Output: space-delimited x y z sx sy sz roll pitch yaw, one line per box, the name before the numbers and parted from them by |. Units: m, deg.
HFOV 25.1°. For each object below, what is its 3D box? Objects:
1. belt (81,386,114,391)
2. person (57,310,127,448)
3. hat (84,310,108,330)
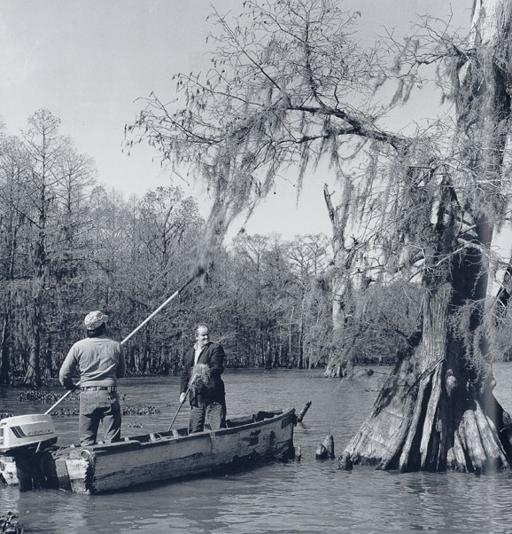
belt | -2.320 1.774 17.000 0.484 0.082 0.172 1 -9 1
person | -2.377 1.632 17.063 0.858 1.930 0.349 2 -6 -10
hat | -2.322 0.737 17.146 0.205 0.220 0.361 14 40 23
